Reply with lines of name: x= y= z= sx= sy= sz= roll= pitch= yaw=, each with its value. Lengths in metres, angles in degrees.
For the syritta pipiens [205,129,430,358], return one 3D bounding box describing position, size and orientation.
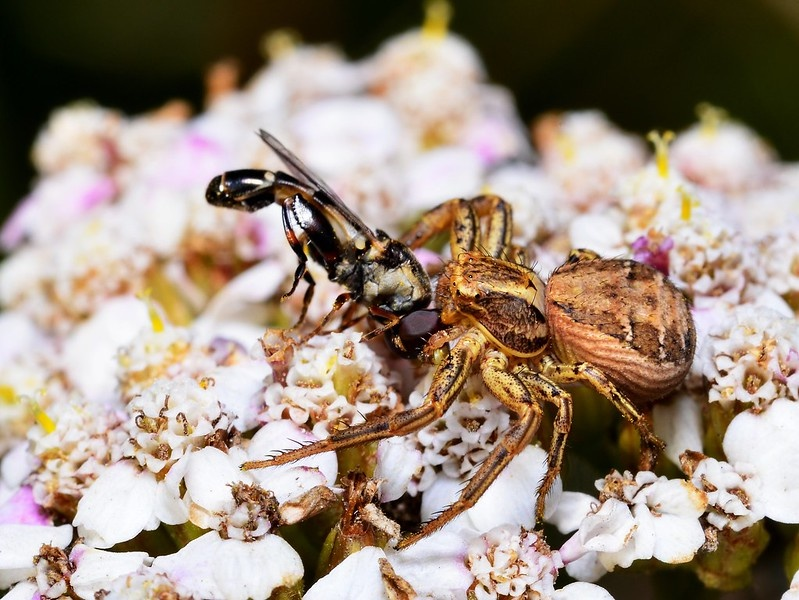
syritta pipiens: x=-0.104 y=-0.067 z=1.361 sx=0.456 sy=0.309 sz=0.136 roll=41 pitch=84 yaw=-5
